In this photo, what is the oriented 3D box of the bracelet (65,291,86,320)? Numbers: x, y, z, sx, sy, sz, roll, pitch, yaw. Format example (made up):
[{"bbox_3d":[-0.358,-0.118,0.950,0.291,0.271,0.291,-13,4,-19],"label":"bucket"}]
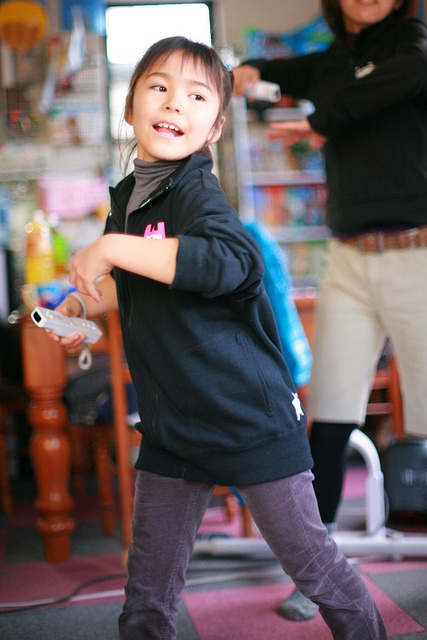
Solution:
[{"bbox_3d":[-0.227,-0.024,1.052,0.032,0.041,0.015,3,-29,-41],"label":"bracelet"}]
